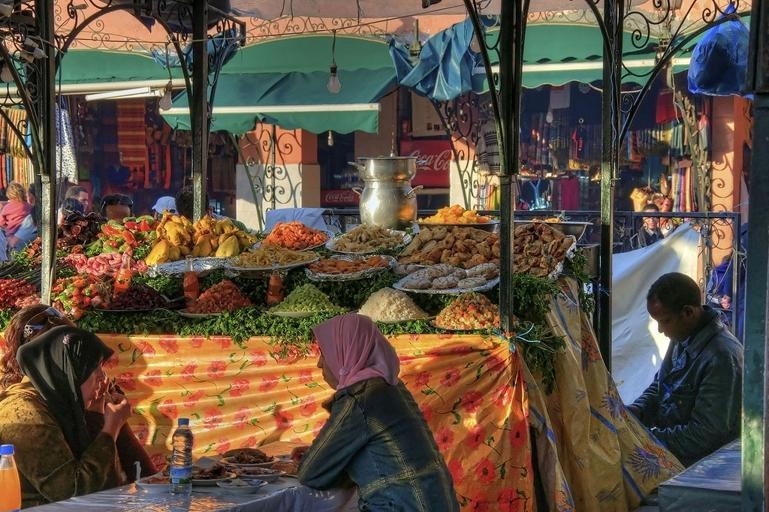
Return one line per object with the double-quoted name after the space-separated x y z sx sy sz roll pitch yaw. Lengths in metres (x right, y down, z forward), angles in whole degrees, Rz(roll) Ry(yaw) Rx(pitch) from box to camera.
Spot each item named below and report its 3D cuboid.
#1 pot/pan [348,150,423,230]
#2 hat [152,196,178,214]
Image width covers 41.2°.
0.051 -0.751 12.922 0.952 0.974 0.760 -1 1 -25 "pot/pan"
-3.865 -0.884 18.130 0.534 0.306 0.756 -1 7 -4 "hat"
